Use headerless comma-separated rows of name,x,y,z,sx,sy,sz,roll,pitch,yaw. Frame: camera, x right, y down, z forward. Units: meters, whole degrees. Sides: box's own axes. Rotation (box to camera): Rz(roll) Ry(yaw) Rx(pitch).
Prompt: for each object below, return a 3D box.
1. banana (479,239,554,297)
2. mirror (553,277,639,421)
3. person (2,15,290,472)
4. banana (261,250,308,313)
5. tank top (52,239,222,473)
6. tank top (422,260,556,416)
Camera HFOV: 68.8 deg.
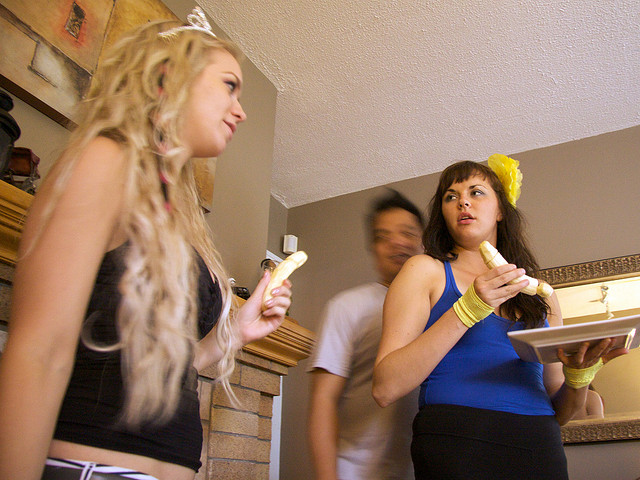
banana,0.509,0.078,1.210,0.239,0.122,0.110,18,-24,-35
mirror,1.915,0.718,3.152,0.531,0.952,0.222,-4,-22,23
person,-0.279,-0.098,0.948,0.229,1.021,0.492,-9,-25,34
banana,-0.095,0.082,1.140,0.058,0.192,0.034,12,-59,19
tank top,-0.275,0.191,0.786,0.089,0.371,0.290,-14,-27,41
tank top,0.417,0.257,1.190,0.364,0.312,0.176,24,-45,-20
